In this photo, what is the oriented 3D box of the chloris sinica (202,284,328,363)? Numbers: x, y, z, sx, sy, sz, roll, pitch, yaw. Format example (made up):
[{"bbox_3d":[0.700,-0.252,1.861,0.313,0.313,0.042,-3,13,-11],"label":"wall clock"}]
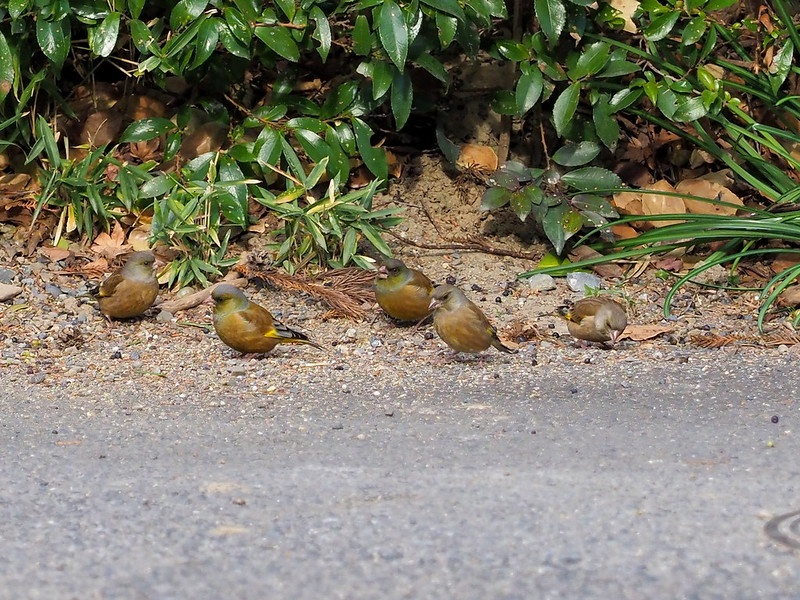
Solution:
[{"bbox_3d":[-0.889,0.145,5.506,0.879,0.398,0.403,4,8,-37],"label":"chloris sinica"}]

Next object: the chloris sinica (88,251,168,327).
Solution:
[{"bbox_3d":[-1.961,-0.096,6.041,0.816,0.440,0.435,9,10,39],"label":"chloris sinica"}]
